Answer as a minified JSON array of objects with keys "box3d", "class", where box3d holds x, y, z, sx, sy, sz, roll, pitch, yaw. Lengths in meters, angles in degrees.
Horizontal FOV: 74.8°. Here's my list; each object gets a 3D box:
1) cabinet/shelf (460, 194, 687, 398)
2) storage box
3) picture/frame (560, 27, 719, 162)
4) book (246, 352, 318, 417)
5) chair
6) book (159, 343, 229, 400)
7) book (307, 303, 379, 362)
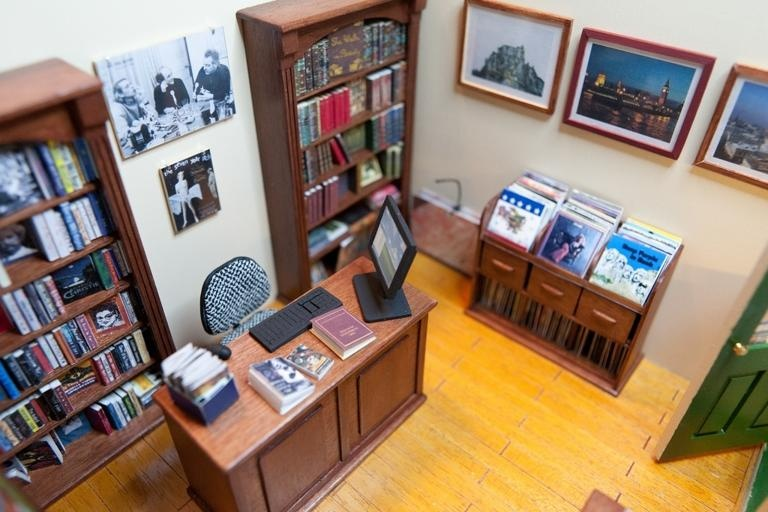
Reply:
[{"box3d":[1.561,0.337,3.959,1.369,1.070,0.488,30,56,21],"class":"cabinet/shelf"},{"box3d":[-1.012,0.759,2.822,0.313,0.194,0.314,35,57,24],"class":"storage box"},{"box3d":[1.815,-1.153,3.503,0.911,0.739,0.076,26,44,16],"class":"picture/frame"},{"box3d":[-0.602,0.733,2.906,0.307,0.101,0.310,35,46,29],"class":"book"},{"box3d":[-1.068,0.351,3.582,0.402,0.618,0.394,-35,82,-27],"class":"chair"},{"box3d":[-1.068,0.646,2.813,0.308,0.217,0.202,19,32,25],"class":"book"},{"box3d":[-0.258,0.479,3.170,0.310,0.089,0.289,-27,53,-38],"class":"book"}]
